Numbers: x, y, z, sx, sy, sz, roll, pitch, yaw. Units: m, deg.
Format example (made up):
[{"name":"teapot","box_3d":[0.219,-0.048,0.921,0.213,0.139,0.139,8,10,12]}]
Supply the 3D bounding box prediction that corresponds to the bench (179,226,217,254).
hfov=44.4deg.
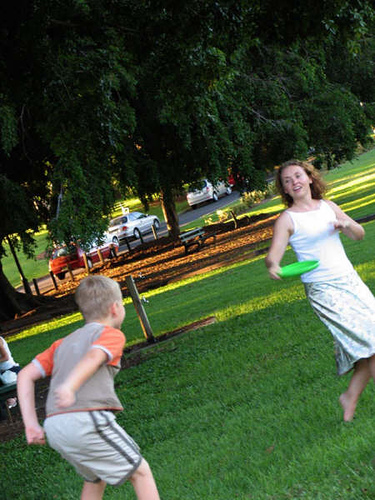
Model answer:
[{"name":"bench","box_3d":[0.449,-0.527,19.597,1.384,0.962,1.736,-18,6,7]}]

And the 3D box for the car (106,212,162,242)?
[{"name":"car","box_3d":[-3.588,-1.722,31.204,1.947,1.470,5.018,1,12,36]}]

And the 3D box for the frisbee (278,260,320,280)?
[{"name":"frisbee","box_3d":[0.663,0.104,2.786,0.159,0.080,0.332,-14,7,36]}]

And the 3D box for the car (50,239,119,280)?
[{"name":"car","box_3d":[-4.413,0.435,19.436,1.391,1.033,3.052,-2,21,39]}]
